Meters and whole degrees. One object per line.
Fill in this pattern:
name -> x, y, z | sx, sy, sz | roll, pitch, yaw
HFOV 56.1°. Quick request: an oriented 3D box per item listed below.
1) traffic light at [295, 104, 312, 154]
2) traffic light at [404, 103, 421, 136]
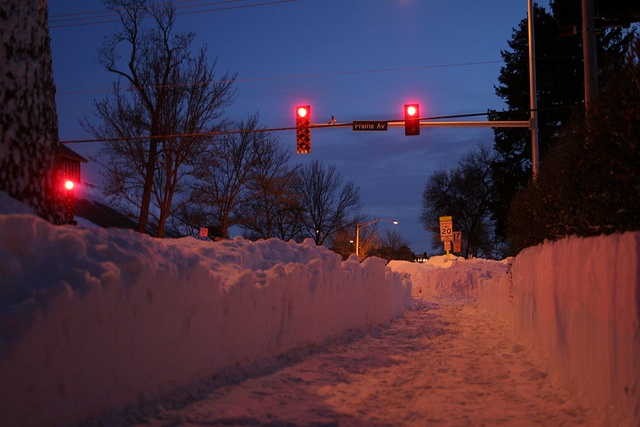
traffic light -> -0.603, -2.850, 20.567 | 0.516, 1.830, 0.319 | -8, 41, -8
traffic light -> 3.068, -3.083, 20.019 | 0.526, 1.243, 0.161 | 0, -25, 6
